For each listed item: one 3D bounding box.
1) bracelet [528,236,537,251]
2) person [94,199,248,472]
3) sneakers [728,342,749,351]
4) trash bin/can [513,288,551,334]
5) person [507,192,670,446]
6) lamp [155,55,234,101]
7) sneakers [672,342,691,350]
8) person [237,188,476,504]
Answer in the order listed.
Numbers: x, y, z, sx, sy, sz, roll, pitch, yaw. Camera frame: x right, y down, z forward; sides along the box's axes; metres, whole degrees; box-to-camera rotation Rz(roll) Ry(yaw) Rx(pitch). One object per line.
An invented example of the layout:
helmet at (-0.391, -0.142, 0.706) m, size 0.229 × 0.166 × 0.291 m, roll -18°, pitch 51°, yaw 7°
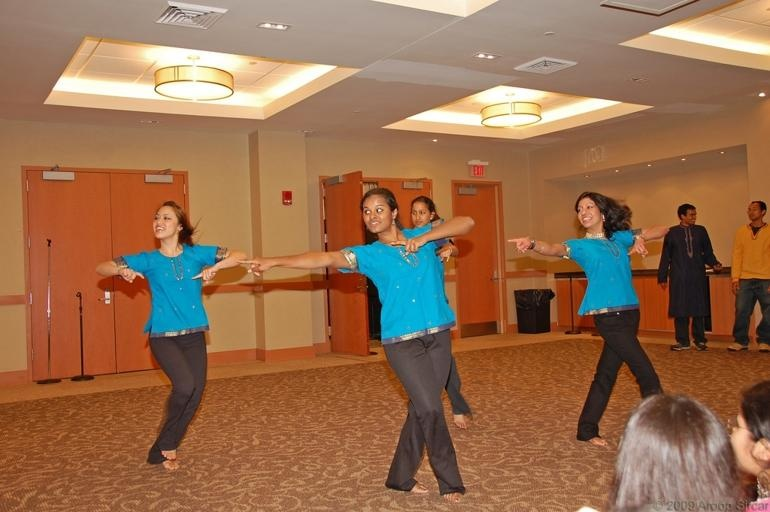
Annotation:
bracelet at (1.281, -0.099, 4.694) m, size 0.051 × 0.087 × 0.079 m, roll 9°, pitch 3°, yaw -10°
person at (-1.877, 0.691, 5.032) m, size 1.053 × 2.544 × 0.569 m, roll -3°, pitch 1°, yaw 9°
sneakers at (5.810, 1.494, 8.951) m, size 0.346 × 0.108 × 0.126 m, roll 2°, pitch -2°, yaw -15°
trash bin/can at (3.458, 1.265, 12.747) m, size 1.215 × 1.046 × 0.933 m, roll 1°, pitch -10°, yaw -7°
person at (1.957, 0.561, 4.884) m, size 1.024 × 1.946 × 0.918 m, roll -2°, pitch 1°, yaw 26°
lamp at (-2.712, -2.475, 7.730) m, size 1.048 × 0.393 × 0.970 m, roll -3°, pitch 2°, yaw 4°
sneakers at (5.027, 1.527, 9.266) m, size 0.298 × 0.110 × 0.121 m, roll 4°, pitch -6°, yaw 1°
person at (0.125, 0.663, 4.130) m, size 1.125 × 2.187 × 0.546 m, roll -3°, pitch 1°, yaw 10°
